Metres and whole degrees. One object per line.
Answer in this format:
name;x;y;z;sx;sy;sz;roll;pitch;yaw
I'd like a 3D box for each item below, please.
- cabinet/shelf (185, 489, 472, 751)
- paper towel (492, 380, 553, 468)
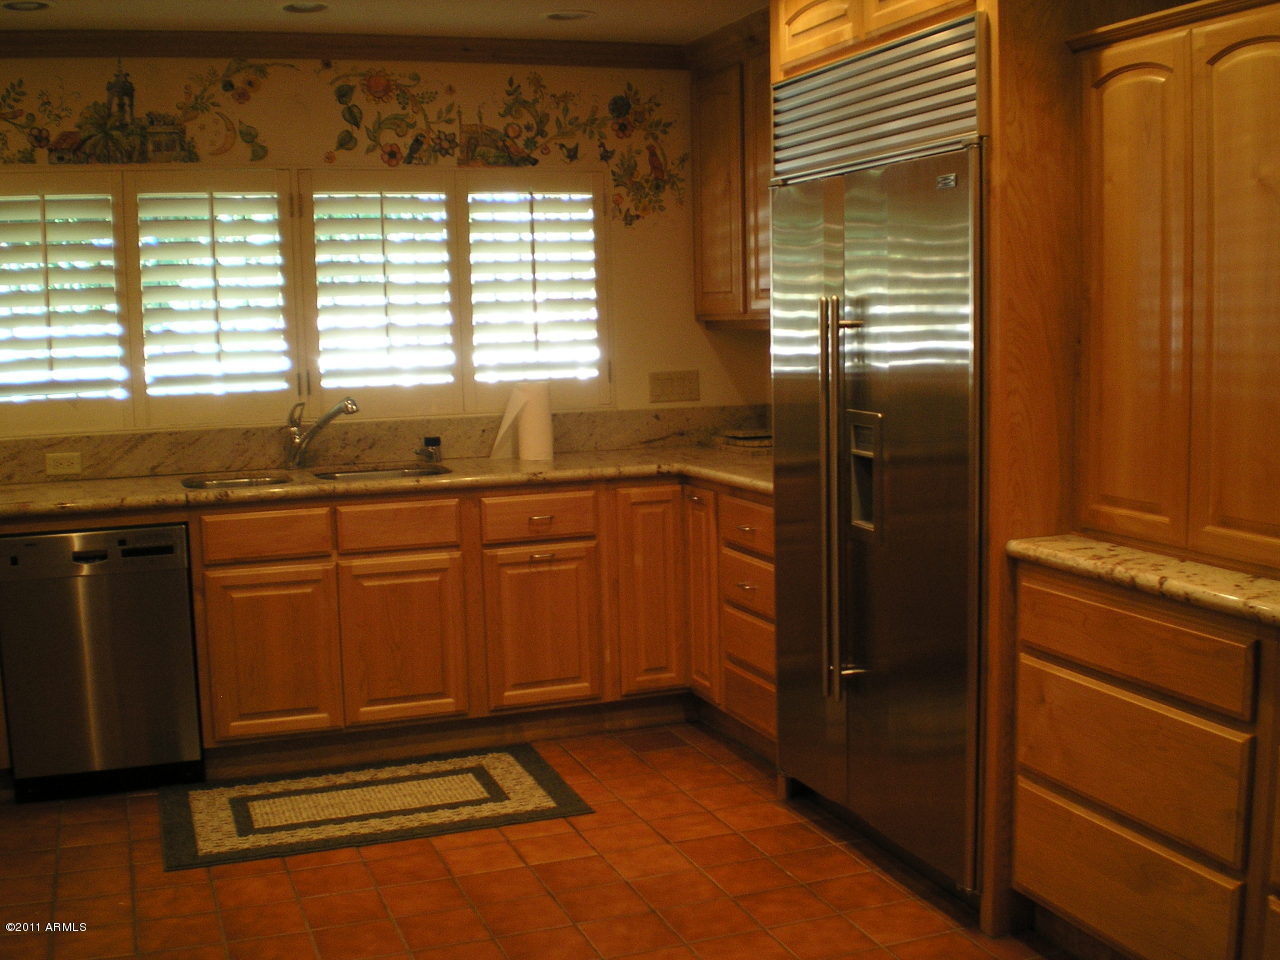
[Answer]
cabinet/shelf;-1.236;0.505;3.939;1.080;0.871;0.366;-2;3;-19
paper towel;-0.527;-0.239;4.463;0.277;0.336;0.365;-5;7;-7
